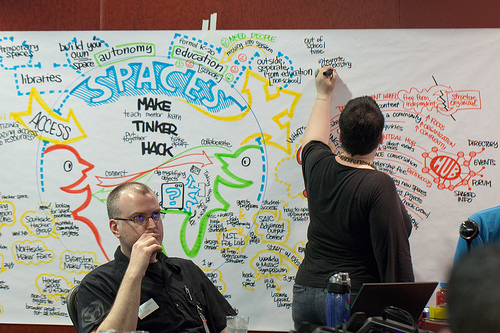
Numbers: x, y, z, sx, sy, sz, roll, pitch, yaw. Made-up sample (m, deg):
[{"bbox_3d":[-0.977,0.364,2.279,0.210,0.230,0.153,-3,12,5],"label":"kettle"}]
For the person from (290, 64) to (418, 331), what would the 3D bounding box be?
[{"bbox_3d":[0.697,0.315,3.699,0.855,1.640,0.287,-3,-7,17],"label":"person"}]

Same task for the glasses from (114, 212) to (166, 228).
[{"bbox_3d":[-0.777,0.352,3.534,0.315,0.093,0.097,1,-8,-15],"label":"glasses"}]

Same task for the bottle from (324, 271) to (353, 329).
[{"bbox_3d":[0.563,0.842,3.298,0.158,0.326,0.179,-2,-8,9],"label":"bottle"}]

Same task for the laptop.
[{"bbox_3d":[0.897,0.846,3.200,0.546,0.260,0.175,3,-8,-22],"label":"laptop"}]
